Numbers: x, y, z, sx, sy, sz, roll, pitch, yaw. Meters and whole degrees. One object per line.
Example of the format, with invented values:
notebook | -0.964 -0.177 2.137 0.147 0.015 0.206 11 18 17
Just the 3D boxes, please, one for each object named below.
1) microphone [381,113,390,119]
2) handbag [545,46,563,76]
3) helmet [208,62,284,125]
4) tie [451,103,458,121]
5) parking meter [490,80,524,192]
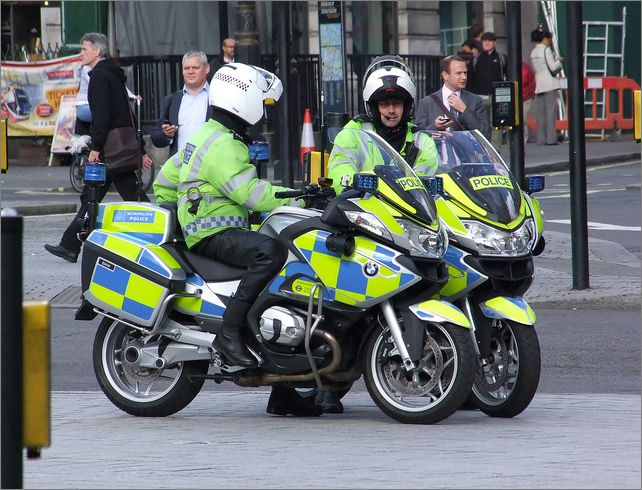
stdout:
microphone | 0.456 -0.917 8.699 0.026 0.027 0.094 -31 42 -28
handbag | 4.990 -4.073 26.817 0.209 0.654 0.429 -28 -18 31
helmet | -0.524 -1.050 8.516 0.448 0.429 0.369 -1 5 -20
tie | 1.270 -1.273 11.721 0.026 0.123 0.125 -11 36 -5
parking meter | 1.861 -1.093 12.162 0.244 1.085 0.274 -2 -9 1
